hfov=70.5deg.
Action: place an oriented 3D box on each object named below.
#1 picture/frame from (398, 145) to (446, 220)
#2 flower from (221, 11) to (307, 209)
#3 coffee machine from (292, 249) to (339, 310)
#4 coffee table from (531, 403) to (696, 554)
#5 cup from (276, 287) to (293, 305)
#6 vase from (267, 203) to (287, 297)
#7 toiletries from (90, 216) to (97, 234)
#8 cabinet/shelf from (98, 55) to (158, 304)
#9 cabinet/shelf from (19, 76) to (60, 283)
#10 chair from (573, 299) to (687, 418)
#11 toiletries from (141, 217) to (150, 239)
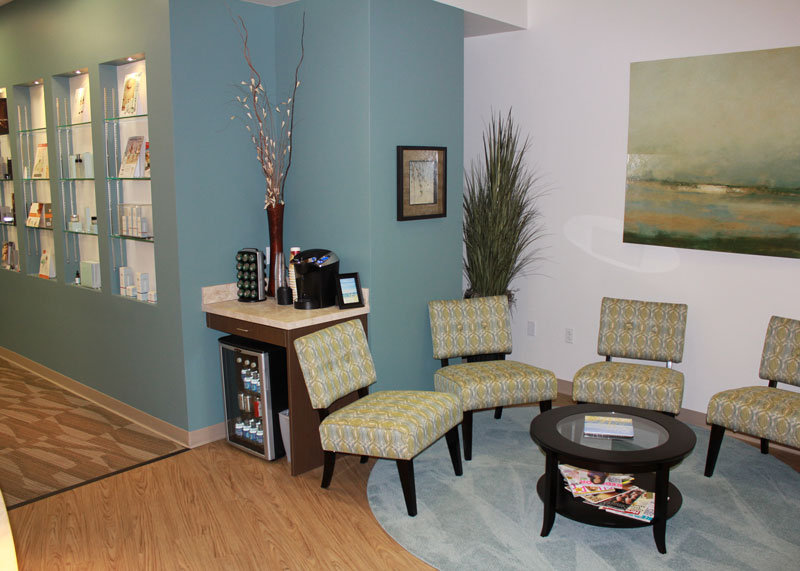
[{"bbox_3d":[0.172,-0.881,4.728,0.040,0.637,0.597,5,8,41],"label":"picture/frame"},{"bbox_3d":[-1.084,-1.429,4.698,0.597,1.516,0.314,-2,7,-16],"label":"flower"},{"bbox_3d":[-0.653,-0.057,4.417,0.356,0.507,0.437,3,4,38],"label":"coffee machine"},{"bbox_3d":[1.362,1.212,3.657,1.010,0.682,0.721,0,6,8],"label":"coffee table"},{"bbox_3d":[-0.930,0.075,4.535,0.125,0.146,0.132,0,0,0],"label":"cup"},{"bbox_3d":[-1.031,-0.304,4.736,0.166,0.784,0.427,-2,7,-12],"label":"vase"},{"bbox_3d":[-2.888,-0.580,5.328,0.060,0.171,0.193,-3,7,-24],"label":"toiletries"},{"bbox_3d":[-2.313,-0.894,4.836,0.582,2.036,0.199,6,9,41],"label":"cabinet/shelf"},{"bbox_3d":[-3.824,-1.103,5.931,0.204,2.019,0.708,-7,9,-42],"label":"cabinet/shelf"},{"bbox_3d":[1.972,0.536,4.744,0.773,0.818,1.027,3,7,30],"label":"chair"},{"bbox_3d":[-2.145,-0.498,4.782,0.068,0.184,0.107,-5,8,-37],"label":"toiletries"}]
